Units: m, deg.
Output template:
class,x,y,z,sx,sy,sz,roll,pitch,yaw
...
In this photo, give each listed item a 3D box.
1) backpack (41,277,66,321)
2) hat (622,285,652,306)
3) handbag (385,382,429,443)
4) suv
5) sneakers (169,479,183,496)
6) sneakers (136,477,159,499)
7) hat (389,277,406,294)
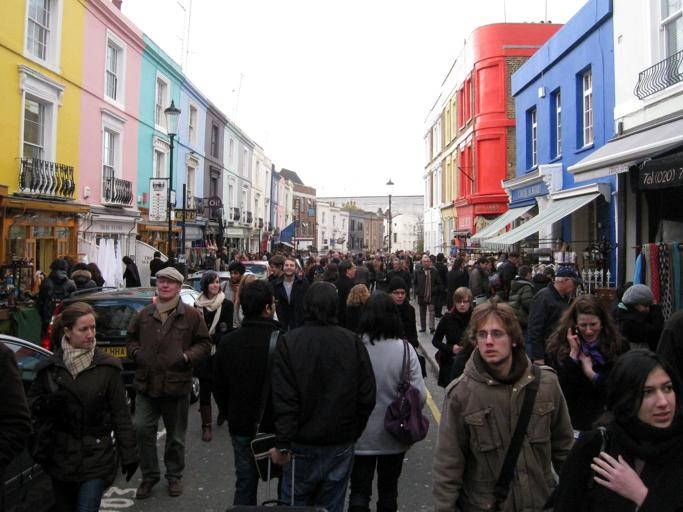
class,x,y,z,sx,sy,sz,roll,pitch,yaw
backpack,-4.894,0.730,11.595,0.398,0.757,0.517,6,-18,-21
hat,3.447,0.452,7.962,0.277,0.252,0.215,-7,5,-11
handbag,0.596,1.488,6.461,0.423,0.479,0.223,13,-17,-42
suv,-3.227,1.134,10.112,1.338,1.388,2.510,-1,7,-5
sneakers,-1.820,2.572,7.527,0.144,0.158,0.151,1,-3,-17
sneakers,-2.146,2.587,7.547,0.096,0.137,0.302,-2,-5,9
hat,0.755,0.393,9.151,0.183,0.189,0.203,-2,-9,-3
